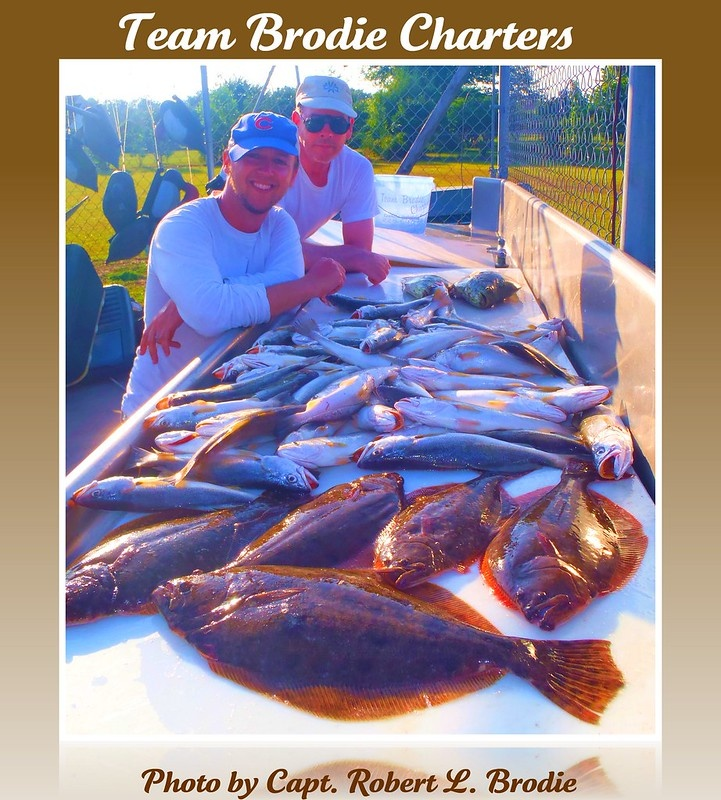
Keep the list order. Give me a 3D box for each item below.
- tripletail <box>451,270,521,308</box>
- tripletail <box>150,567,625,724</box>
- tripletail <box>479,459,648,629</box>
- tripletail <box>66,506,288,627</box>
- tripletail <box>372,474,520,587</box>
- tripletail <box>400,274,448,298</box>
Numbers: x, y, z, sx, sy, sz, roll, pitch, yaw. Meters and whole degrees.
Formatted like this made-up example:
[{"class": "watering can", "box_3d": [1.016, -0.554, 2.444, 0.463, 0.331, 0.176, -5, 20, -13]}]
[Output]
[{"class": "tripletail", "box_3d": [0.534, -0.453, 2.787, 0.190, 0.081, 0.211, 16, 30, 38]}, {"class": "tripletail", "box_3d": [0.024, 0.359, 0.993, 0.716, 0.129, 0.258, 9, 25, 8]}, {"class": "tripletail", "box_3d": [0.377, 0.251, 1.167, 0.252, 0.087, 0.457, 15, 33, 28]}, {"class": "tripletail", "box_3d": [-0.269, 0.212, 1.162, 0.473, 0.119, 0.167, -18, -4, -22]}, {"class": "tripletail", "box_3d": [0.169, 0.226, 1.216, 0.178, 0.060, 0.412, 17, 32, 31]}, {"class": "tripletail", "box_3d": [0.295, -0.509, 2.925, 0.143, 0.045, 0.170, 11, 23, 36]}]
